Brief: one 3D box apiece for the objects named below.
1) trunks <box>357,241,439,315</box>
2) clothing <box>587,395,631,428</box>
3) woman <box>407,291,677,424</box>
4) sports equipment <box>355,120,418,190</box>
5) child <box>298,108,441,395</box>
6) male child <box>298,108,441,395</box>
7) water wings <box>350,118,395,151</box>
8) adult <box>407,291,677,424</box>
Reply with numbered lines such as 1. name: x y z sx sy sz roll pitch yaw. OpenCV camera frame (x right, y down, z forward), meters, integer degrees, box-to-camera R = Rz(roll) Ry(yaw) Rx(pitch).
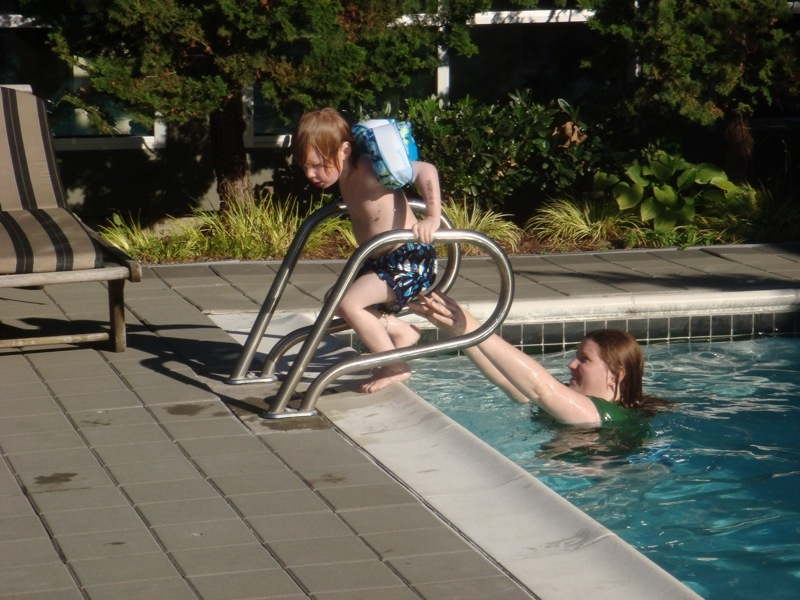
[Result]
1. trunks: -0.018 -0.121 4.135 0.407 0.230 0.258 -22 -30 9
2. clothing: 1.178 0.641 4.417 0.248 0.120 0.099 -1 -23 -41
3. woman: 0.908 0.388 4.512 1.984 0.488 0.590 15 4 -30
4. sports equipment: -0.023 -0.773 4.088 0.322 0.333 0.391 -14 5 6
5. child: -0.170 -0.242 4.138 0.741 1.511 0.711 1 12 1
6. male child: -0.170 -0.243 4.147 0.741 1.511 0.735 1 12 1
7. water wings: -0.122 -0.866 3.993 0.247 0.119 0.073 -7 3 9
8. adult: 0.927 0.380 4.483 1.745 0.420 0.485 15 2 -19
